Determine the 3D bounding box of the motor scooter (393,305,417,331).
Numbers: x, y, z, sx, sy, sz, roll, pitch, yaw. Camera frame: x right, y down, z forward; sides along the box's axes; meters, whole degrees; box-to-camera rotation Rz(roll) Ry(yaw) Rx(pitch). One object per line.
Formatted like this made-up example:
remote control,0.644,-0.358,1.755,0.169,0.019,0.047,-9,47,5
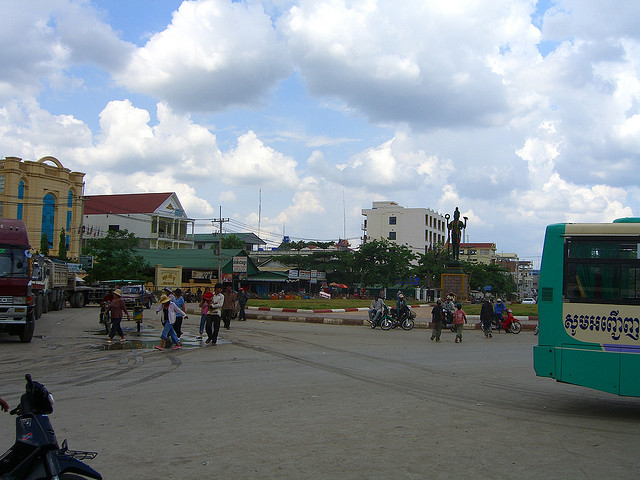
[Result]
motor scooter,4.086,3.635,29.268,1.357,1.155,0.669,8,-8,-42

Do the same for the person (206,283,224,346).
person,-3.408,2.367,20.025,0.482,1.958,1.522,3,-6,-9

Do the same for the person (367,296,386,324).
person,2.633,3.322,29.321,1.182,0.778,0.720,-12,1,8

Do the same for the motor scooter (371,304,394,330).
motor scooter,2.930,3.556,28.872,0.993,1.149,0.794,1,-6,6

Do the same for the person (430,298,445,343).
person,4.397,3.015,23.257,0.389,1.524,1.037,1,-6,10

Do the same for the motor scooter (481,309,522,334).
motor scooter,9.103,3.929,29.932,2.291,1.483,1.111,-3,0,4

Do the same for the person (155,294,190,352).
person,-4.489,2.429,18.597,0.826,1.612,0.995,3,-6,-13

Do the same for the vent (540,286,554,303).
vent,4.119,0.976,11.256,0.255,0.281,0.258,0,-6,7

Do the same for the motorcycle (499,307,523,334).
motorcycle,9.083,3.816,29.568,0.914,1.218,1.337,0,-6,16
